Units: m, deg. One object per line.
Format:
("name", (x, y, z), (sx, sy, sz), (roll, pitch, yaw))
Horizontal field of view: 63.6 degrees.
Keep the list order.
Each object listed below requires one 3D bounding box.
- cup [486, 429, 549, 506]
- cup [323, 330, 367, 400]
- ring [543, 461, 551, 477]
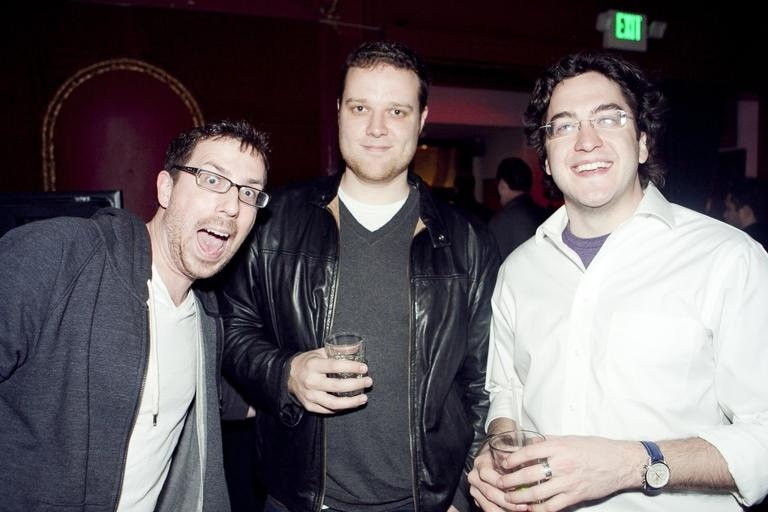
("cup", (0.566, 0.936, 2.814), (0.280, 0.308, 0.294), (-18, -20, -7))
("cup", (-0.192, 0.528, 2.986), (0.187, 0.301, 0.184), (0, 2, 0))
("ring", (0.710, 0.939, 2.717), (0.041, 0.056, 0.017), (-2, -9, -19))
